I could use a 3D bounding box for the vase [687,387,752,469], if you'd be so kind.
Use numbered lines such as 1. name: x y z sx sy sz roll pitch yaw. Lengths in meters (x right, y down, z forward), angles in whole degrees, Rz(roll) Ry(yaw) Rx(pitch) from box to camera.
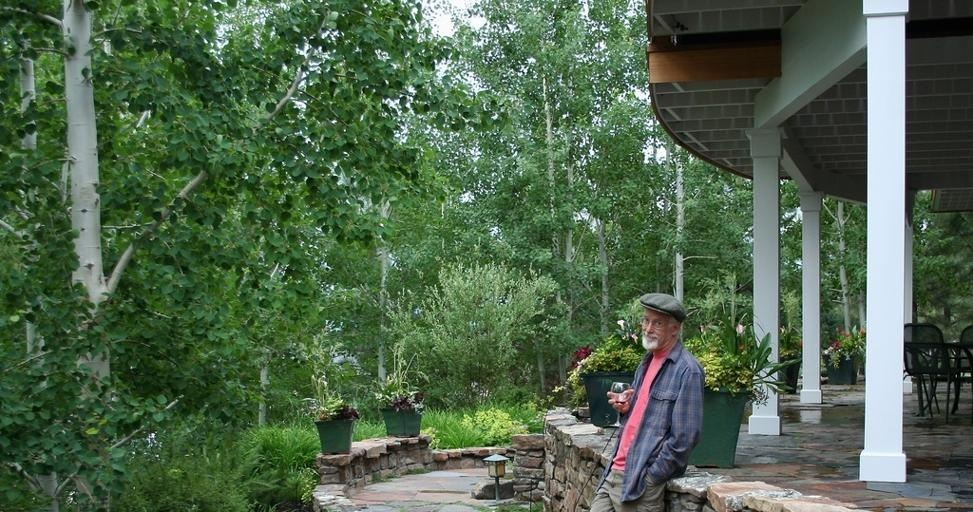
1. vase: 3.059 2.139 10.774 0.935 1.027 1.058 1 -5 -1

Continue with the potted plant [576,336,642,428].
1. potted plant: 1.677 1.731 12.044 1.107 1.117 1.150 -1 -7 18

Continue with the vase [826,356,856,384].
1. vase: 7.945 2.527 19.107 0.631 0.505 0.715 -1 -6 12

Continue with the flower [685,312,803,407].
1. flower: 3.350 1.307 11.294 1.524 1.041 1.351 -4 6 -30

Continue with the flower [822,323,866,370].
1. flower: 8.035 2.012 19.209 0.667 0.894 1.177 -9 -14 42

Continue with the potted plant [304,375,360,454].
1. potted plant: -2.752 2.838 15.448 0.732 1.407 1.198 1 -10 -11

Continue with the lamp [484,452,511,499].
1. lamp: 0.159 3.709 14.410 0.445 0.641 0.434 1 -12 2
